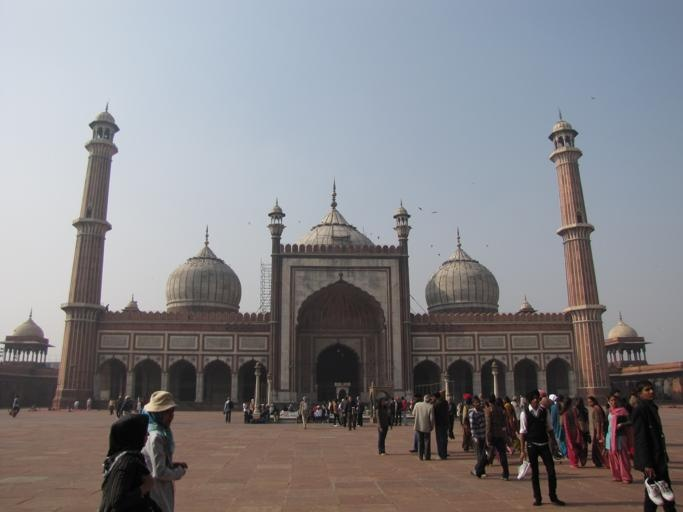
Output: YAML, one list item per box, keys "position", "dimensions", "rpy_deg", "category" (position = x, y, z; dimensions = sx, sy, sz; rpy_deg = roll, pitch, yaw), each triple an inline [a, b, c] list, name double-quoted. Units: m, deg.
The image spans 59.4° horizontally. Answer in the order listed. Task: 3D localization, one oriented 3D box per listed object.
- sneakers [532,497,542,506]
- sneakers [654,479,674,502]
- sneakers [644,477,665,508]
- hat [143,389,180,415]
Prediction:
- position: [2.451, 3.077, 7.497]
  dimensions: [0.099, 0.083, 0.155]
  rpy_deg: [-6, -17, 17]
  category: "sneakers"
- position: [3.352, 2.423, 6.252]
  dimensions: [0.088, 0.251, 0.102]
  rpy_deg: [-2, -48, -9]
  category: "sneakers"
- position: [3.238, 2.452, 6.261]
  dimensions: [0.113, 0.322, 0.128]
  rpy_deg: [4, -52, -8]
  category: "sneakers"
- position: [-1.703, 1.381, 5.732]
  dimensions: [0.245, 0.125, 0.330]
  rpy_deg: [-1, -10, 3]
  category: "hat"
